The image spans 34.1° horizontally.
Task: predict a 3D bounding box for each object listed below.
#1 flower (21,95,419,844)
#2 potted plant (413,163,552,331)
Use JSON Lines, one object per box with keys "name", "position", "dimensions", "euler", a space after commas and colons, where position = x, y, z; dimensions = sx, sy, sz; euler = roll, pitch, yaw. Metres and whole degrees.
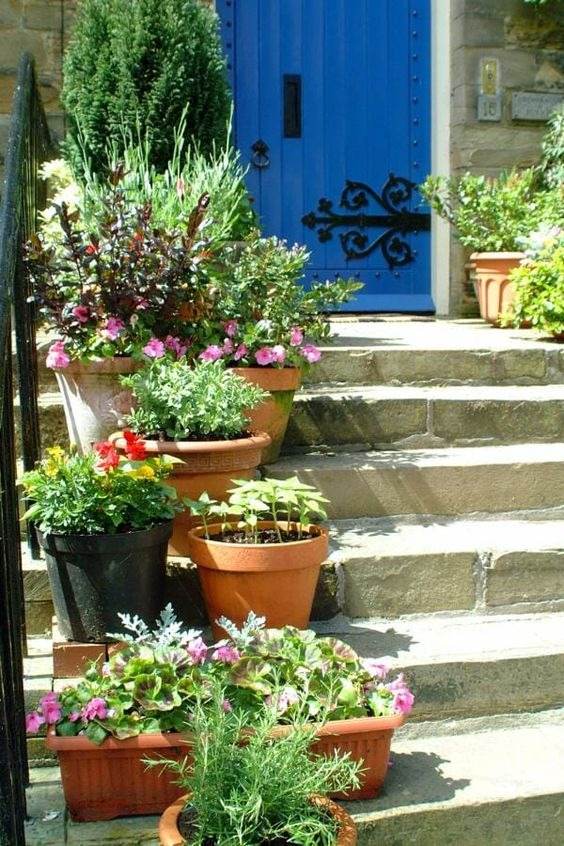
{"name": "flower", "position": [-0.170, -0.045, 2.292], "dimensions": [0.874, 1.546, 1.340], "euler": [-2, 6, 3]}
{"name": "potted plant", "position": [1.141, -0.875, 4.849], "dimensions": [0.676, 0.725, 0.579], "euler": [5, 5, 7]}
